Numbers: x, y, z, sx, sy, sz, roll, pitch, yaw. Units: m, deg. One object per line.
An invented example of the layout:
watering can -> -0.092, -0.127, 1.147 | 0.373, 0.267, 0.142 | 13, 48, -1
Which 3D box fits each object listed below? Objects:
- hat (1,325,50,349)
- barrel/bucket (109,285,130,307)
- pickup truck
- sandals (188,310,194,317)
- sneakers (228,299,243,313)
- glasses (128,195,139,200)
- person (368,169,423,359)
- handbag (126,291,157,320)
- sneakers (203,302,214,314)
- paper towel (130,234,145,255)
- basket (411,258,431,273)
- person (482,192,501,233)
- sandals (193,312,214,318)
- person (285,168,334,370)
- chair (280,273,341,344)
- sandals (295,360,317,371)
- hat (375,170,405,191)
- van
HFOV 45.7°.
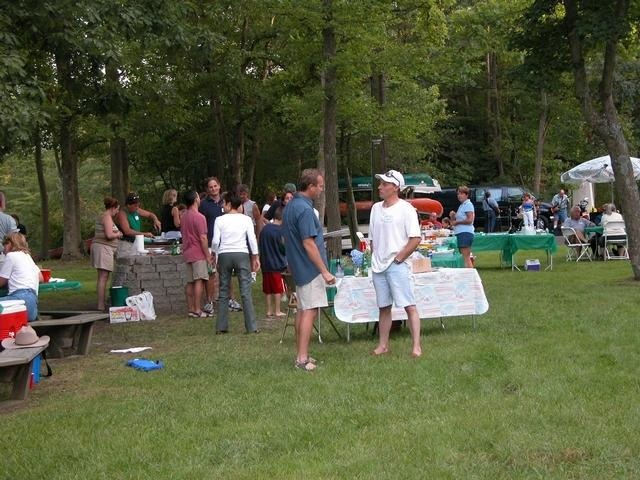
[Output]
hat -> -3.558, 1.197, 9.051 | 0.331, 0.138, 0.307 | -3, 8, 7
barrel/bucket -> -3.602, 1.007, 13.667 | 0.304, 0.348, 0.320 | -1, -6, 0
pickup truck -> 7.002, -1.175, 31.388 | 5.187, 2.106, 1.890 | -2, 0, -3
sandals -> -2.311, 1.330, 13.716 | 0.111, 0.070, 0.155 | 3, -3, -10
sneakers -> -1.608, 1.250, 14.437 | 0.129, 0.173, 0.350 | -1, 3, -44
glasses -> -3.416, -0.794, 13.965 | 0.134, 0.048, 0.131 | -21, -24, 36
person -> 0.988, 0.300, 9.978 | 0.688, 2.409, 0.381 | -2, 2, 14
handbag -> -3.171, 1.185, 13.658 | 0.405, 0.544, 0.204 | -15, 3, -22
sneakers -> -2.032, 1.270, 13.913 | 0.196, 0.104, 0.282 | -8, 12, -22
paper towel -> -3.368, 0.101, 14.179 | 0.274, 0.486, 0.290 | -1, 3, -25
basket -> 1.464, 0.376, 10.970 | 0.202, 0.137, 0.209 | -3, 3, -11
person -> 5.842, -0.950, 25.881 | 0.479, 1.380, 2.232 | -2, 1, 13
sandals -> -2.100, 1.342, 13.665 | 0.345, 0.149, 0.121 | -2, 3, -8
person -> -0.139, 0.361, 9.599 | 0.613, 1.703, 0.515 | -3, 2, -3
chair -> -0.230, 1.027, 12.155 | 0.839, 1.417, 0.987 | 1, 3, 39
sandals -> -0.162, 1.567, 9.568 | 0.271, 0.088, 0.289 | -3, 1, -13
hat -> 0.955, -0.803, 10.082 | 0.346, 0.199, 0.240 | 30, -5, -27
van -> 1.618, -1.120, 21.299 | 2.532, 1.079, 2.524 | -2, 0, -7
